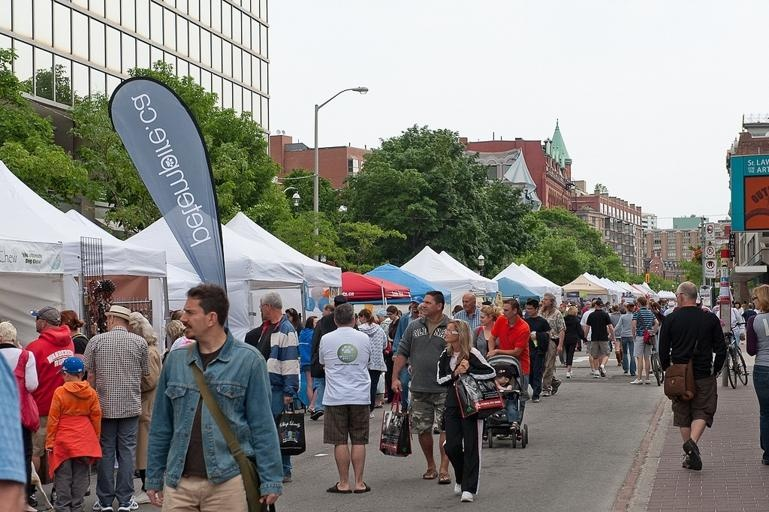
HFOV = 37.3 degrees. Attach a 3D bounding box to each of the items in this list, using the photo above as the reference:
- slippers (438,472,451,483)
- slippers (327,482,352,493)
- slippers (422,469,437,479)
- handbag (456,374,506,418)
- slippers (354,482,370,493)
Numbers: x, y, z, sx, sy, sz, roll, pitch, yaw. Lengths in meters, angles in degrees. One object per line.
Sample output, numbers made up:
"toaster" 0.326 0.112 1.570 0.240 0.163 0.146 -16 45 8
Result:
"slippers" 0.993 3.622 18.543 0.214 0.168 0.225 -1 -5 -8
"slippers" -0.708 3.682 18.068 0.393 0.153 0.241 -1 -5 -3
"slippers" 0.760 3.598 18.822 0.262 0.163 0.189 -2 -5 1
"handbag" 1.472 2.176 17.765 0.716 0.672 0.172 -2 -4 2
"slippers" -0.307 3.688 18.098 0.378 0.134 0.181 3 -7 -45
